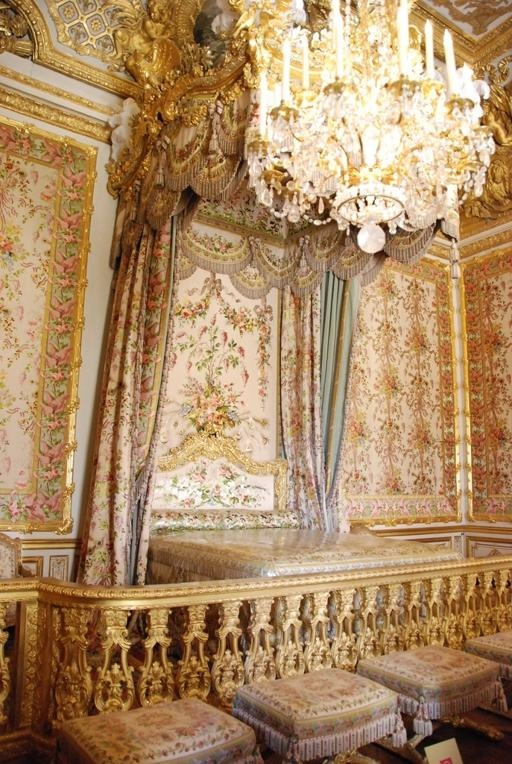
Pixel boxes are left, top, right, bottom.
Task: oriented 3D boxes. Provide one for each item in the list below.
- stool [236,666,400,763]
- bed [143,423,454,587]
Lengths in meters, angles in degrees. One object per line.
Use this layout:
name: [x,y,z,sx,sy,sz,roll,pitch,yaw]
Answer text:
stool: [0.214,1.020,2.213,0.501,0.209,0.359,11,-17,-29]
bed: [-0.081,0.687,4.174,0.982,0.879,1.426,7,-17,-29]
